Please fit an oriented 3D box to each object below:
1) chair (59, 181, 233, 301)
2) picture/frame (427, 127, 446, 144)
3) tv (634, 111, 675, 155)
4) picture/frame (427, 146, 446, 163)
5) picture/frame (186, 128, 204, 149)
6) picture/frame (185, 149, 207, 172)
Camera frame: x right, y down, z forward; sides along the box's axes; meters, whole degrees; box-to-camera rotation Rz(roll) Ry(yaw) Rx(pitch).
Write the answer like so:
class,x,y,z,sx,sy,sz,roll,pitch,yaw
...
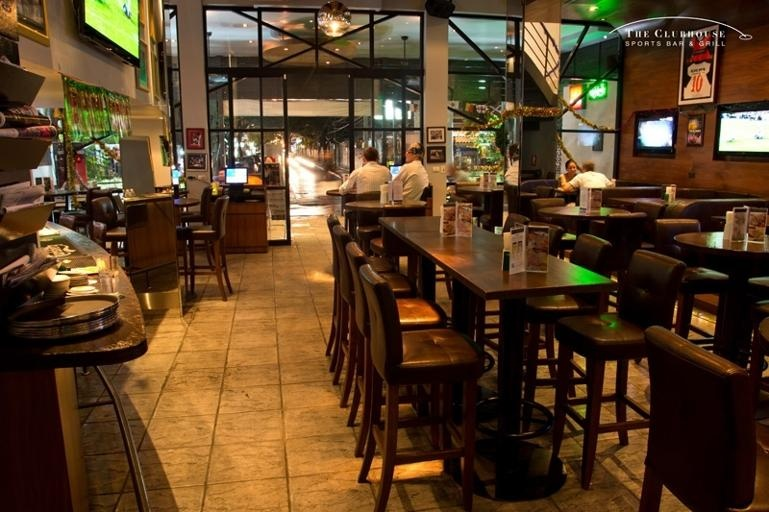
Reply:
class,x,y,z,sx,sy,sz,roll,pitch,yaw
chair,-2.711,-0.158,7.384,1.220,1.516,2.204,-3,14,-18
picture/frame,1.020,-2.434,11.835,0.320,0.270,0.028,1,7,-6
tv,5.426,-2.516,12.082,1.174,0.861,0.116,-5,7,-24
picture/frame,1.030,-2.061,11.884,0.320,0.271,0.024,0,10,-8
picture/frame,-3.413,-2.139,10.692,0.368,0.439,0.031,-2,5,-4
picture/frame,-3.409,-1.752,10.735,0.389,0.339,0.041,-1,13,-17
